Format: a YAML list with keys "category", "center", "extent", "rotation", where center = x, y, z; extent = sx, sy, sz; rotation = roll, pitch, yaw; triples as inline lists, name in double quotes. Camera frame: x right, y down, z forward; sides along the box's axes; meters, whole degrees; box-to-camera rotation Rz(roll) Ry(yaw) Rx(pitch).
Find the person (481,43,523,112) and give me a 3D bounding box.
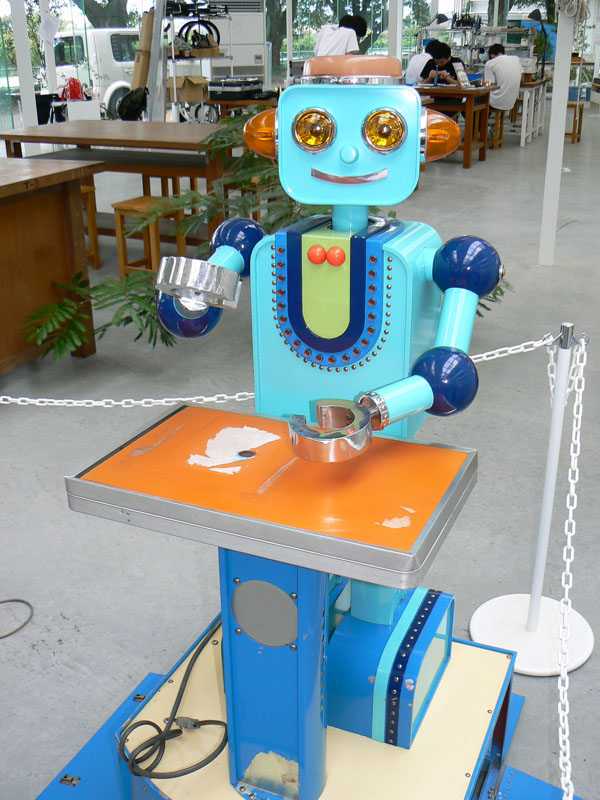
- category: "person"
  center: [3.515, -5.653, 11.712]
  extent: [0.607, 1.033, 0.636]
  rotation: [-20, 27, -17]
